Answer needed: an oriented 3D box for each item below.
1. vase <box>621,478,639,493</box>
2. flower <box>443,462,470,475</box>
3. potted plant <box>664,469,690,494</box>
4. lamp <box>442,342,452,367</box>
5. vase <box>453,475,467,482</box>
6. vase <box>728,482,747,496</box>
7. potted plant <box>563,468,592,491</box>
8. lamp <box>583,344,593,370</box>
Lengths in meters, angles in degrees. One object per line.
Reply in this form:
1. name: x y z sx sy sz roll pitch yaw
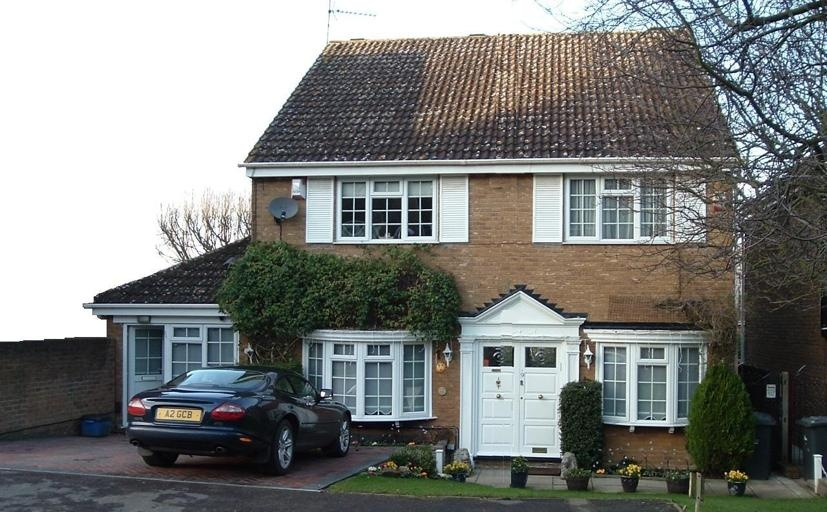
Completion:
1. vase: 5.559 5.844 25.440 0.415 0.292 0.398 1 -12 -2
2. flower: 1.157 5.427 25.509 0.379 0.199 0.374 0 -3 27
3. potted plant: 6.805 5.770 25.480 0.633 0.480 0.573 0 -2 -10
4. lamp: 1.004 2.788 28.436 0.256 0.654 0.170 -1 9 -2
5. vase: 1.201 5.745 25.400 0.333 0.227 0.177 -3 5 -11
6. vase: 8.155 5.844 25.096 0.397 0.360 0.428 2 9 14
7. potted plant: 4.215 5.686 25.382 0.596 0.416 0.582 0 -12 -1
8. lamp: 4.953 2.814 28.114 0.233 0.664 0.189 -5 10 -27
